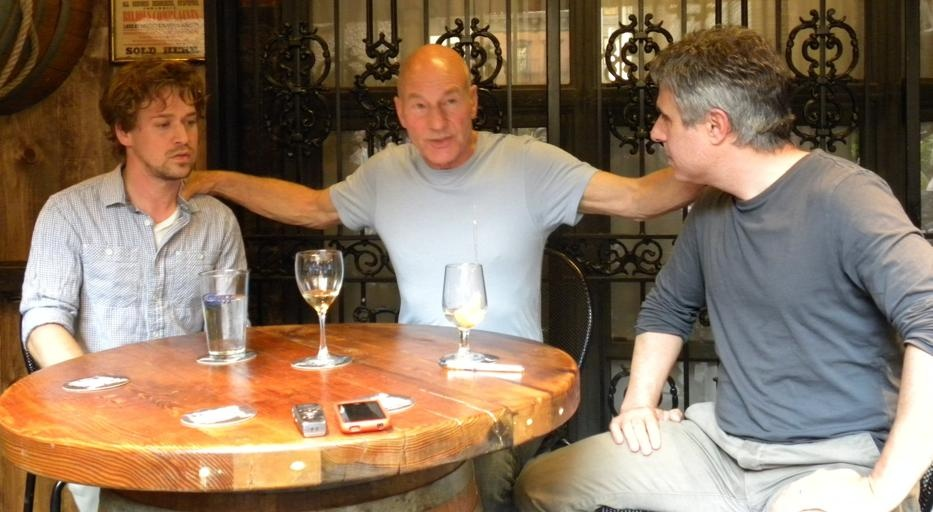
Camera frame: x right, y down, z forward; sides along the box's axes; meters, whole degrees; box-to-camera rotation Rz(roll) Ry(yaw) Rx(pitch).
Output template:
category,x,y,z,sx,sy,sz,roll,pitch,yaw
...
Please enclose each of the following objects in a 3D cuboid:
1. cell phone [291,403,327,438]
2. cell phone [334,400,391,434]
category,x,y,z,sx,sy,sz,roll,pitch,yaw
cell phone,-0.518,0.532,3.076,0.094,0.080,0.135,-3,6,-19
cell phone,-0.347,0.521,3.082,0.163,0.083,0.113,-2,6,-15
